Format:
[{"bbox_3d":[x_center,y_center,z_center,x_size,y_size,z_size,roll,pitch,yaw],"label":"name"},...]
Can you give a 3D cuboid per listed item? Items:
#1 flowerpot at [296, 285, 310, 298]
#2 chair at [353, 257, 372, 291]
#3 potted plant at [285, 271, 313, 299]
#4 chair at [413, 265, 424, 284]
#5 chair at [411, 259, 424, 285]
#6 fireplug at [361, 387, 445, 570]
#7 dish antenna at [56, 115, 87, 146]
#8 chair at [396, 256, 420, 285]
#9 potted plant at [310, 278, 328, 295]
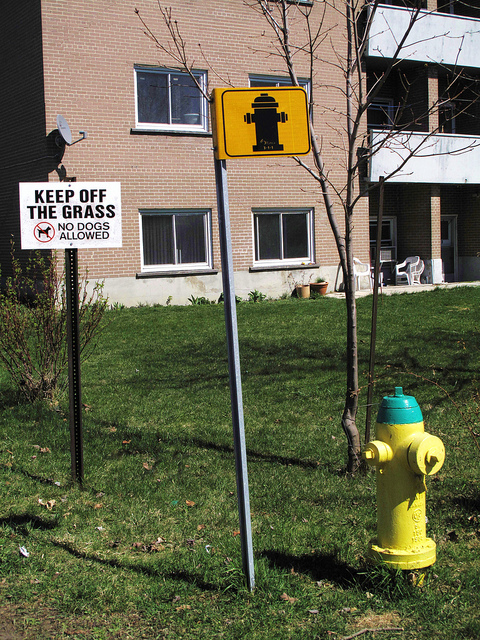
[{"bbox_3d":[1.274,-0.587,23.021,0.185,0.218,0.241,0,-2,5],"label":"flowerpot"},{"bbox_3d":[2.649,-1.024,24.653,0.384,0.803,1.185,1,15,7],"label":"chair"},{"bbox_3d":[1.228,-0.691,23.171,0.416,0.637,0.477,-2,-5,3],"label":"potted plant"},{"bbox_3d":[4.075,-0.989,26.187,0.250,0.503,0.231,2,2,7],"label":"chair"},{"bbox_3d":[4.017,-1.129,25.967,0.236,0.430,0.864,3,16,15],"label":"chair"},{"bbox_3d":[1.112,1.063,7.840,0.541,1.166,0.366,2,12,12],"label":"fireplug"},{"bbox_3d":[-2.732,-3.097,18.663,0.345,0.587,0.508,-8,14,1],"label":"dish antenna"},{"bbox_3d":[3.805,-1.175,26.061,0.550,0.914,0.571,-3,4,-27],"label":"chair"},{"bbox_3d":[1.621,-0.699,23.211,0.263,0.257,0.302,0,2,-14],"label":"potted plant"}]
